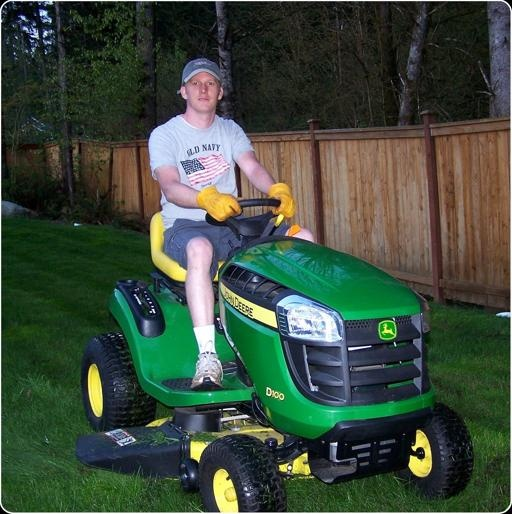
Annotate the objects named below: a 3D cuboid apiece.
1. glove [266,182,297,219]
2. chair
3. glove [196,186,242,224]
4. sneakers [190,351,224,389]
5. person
[{"bbox_3d":[0.136,-0.381,3.254,0.172,0.150,0.302,1,2,-8],"label":"glove"},{"bbox_3d":[-0.520,-0.113,3.395,0.496,0.393,0.385,19,24,41],"label":"chair"},{"bbox_3d":[-0.179,-0.285,2.810,0.233,0.148,0.387,-6,-11,-10],"label":"glove"},{"bbox_3d":[-0.244,0.568,2.676,0.167,0.180,0.183,-1,8,9],"label":"sneakers"},{"bbox_3d":[-0.229,-0.266,3.206,1.007,1.832,1.085,-12,17,-37],"label":"person"}]
